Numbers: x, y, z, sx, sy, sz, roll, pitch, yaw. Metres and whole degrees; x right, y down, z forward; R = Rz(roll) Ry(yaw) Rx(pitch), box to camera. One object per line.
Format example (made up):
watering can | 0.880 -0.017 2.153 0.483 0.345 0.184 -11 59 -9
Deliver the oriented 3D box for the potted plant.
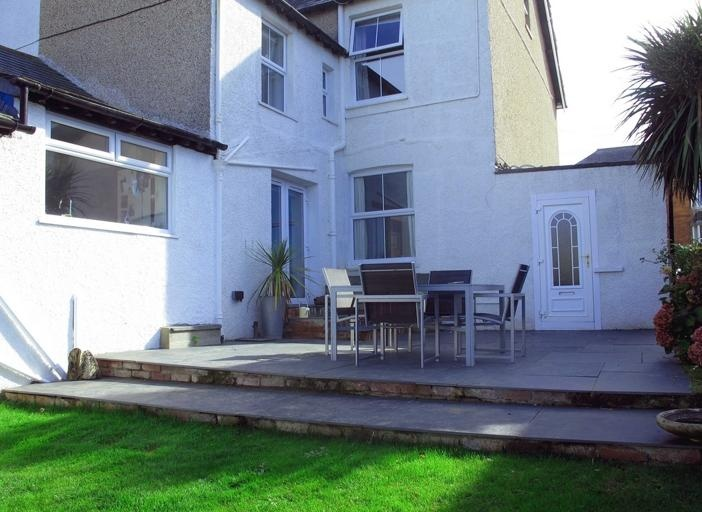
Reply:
potted plant | -1.303 0.590 10.979 1.140 1.719 1.358 2 -3 -42
